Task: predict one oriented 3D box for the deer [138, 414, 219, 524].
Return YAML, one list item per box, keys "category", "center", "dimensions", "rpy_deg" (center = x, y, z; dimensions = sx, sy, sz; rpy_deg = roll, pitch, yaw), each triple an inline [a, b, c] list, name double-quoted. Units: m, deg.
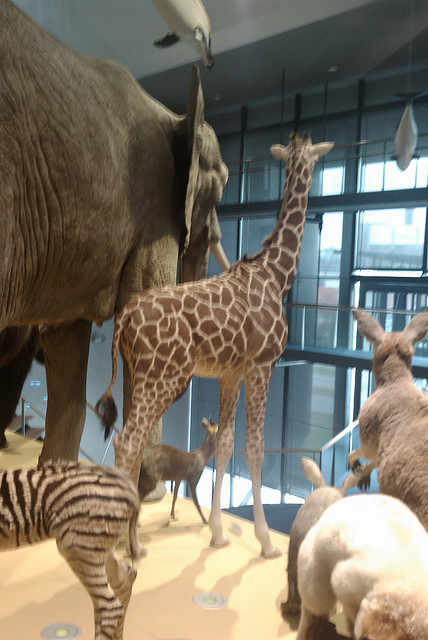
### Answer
- category: "deer"
  center: [-0.143, 0.671, 2.179]
  dimensions: [0.451, 0.449, 0.138]
  rpy_deg: [4, -7, -28]
